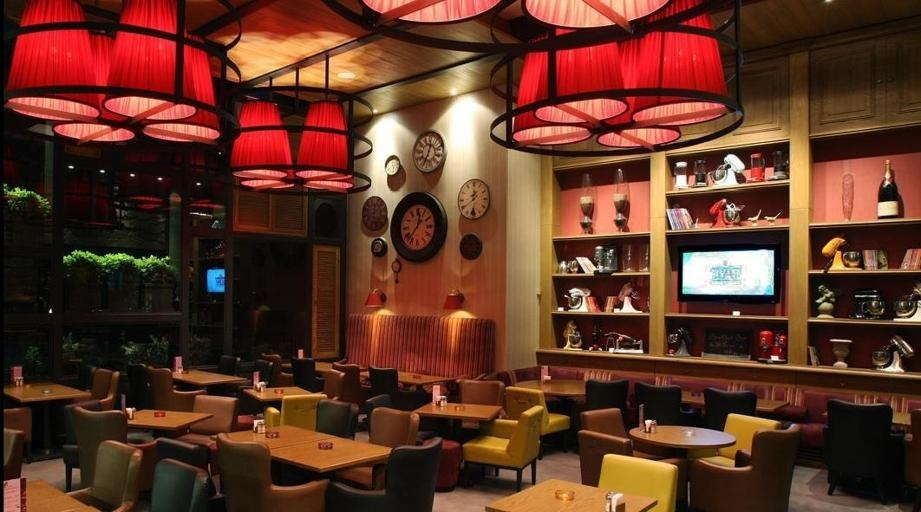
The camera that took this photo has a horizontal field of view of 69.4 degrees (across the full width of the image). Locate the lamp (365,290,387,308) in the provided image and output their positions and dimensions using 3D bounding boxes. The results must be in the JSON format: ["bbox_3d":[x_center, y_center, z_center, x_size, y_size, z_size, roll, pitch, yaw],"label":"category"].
[{"bbox_3d":[-1.848,0.910,14.413,0.378,0.378,0.461,-10,-18,37],"label":"lamp"}]

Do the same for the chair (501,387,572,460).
[{"bbox_3d":[1.326,2.704,11.102,0.991,0.985,0.693,6,-4,-44],"label":"chair"}]

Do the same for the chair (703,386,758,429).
[{"bbox_3d":[4.128,2.385,10.433,0.622,0.787,0.752,2,0,38],"label":"chair"}]

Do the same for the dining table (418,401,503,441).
[{"bbox_3d":[0.082,2.483,10.309,0.833,0.456,0.813,1,1,17],"label":"dining table"}]

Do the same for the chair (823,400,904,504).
[{"bbox_3d":[5.983,2.825,9.943,1.079,1.327,1.102,0,-8,42],"label":"chair"}]

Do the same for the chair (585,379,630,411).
[{"bbox_3d":[2.413,2.262,10.971,0.519,0.658,0.602,1,-6,8],"label":"chair"}]

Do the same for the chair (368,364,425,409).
[{"bbox_3d":[-1.023,2.298,11.790,0.696,0.894,0.880,0,-3,43],"label":"chair"}]

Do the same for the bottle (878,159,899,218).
[{"bbox_3d":[6.975,-1.083,10.811,0.307,0.993,0.368,-1,-5,33],"label":"bottle"}]

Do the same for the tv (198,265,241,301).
[{"bbox_3d":[-4.893,0.558,13.751,0.697,0.577,0.367,-2,-6,19],"label":"tv"}]

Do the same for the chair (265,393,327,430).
[{"bbox_3d":[-2.472,2.324,9.942,0.663,0.637,0.675,3,-4,-34],"label":"chair"}]

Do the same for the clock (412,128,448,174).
[{"bbox_3d":[-0.697,-2.165,13.889,0.905,0.811,0.846,0,5,-9],"label":"clock"}]

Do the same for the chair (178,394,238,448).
[{"bbox_3d":[-3.620,2.424,9.802,0.742,0.950,0.745,0,-13,14],"label":"chair"}]

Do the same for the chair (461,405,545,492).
[{"bbox_3d":[0.677,2.911,10.273,1.192,1.145,1.047,0,-2,36],"label":"chair"}]

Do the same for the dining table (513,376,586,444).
[{"bbox_3d":[1.671,2.593,11.565,1.232,0.645,1.138,-1,-7,12],"label":"dining table"}]

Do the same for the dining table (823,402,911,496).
[{"bbox_3d":[6.056,2.809,9.998,1.280,1.353,1.234,2,-3,-1],"label":"dining table"}]

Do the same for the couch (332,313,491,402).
[{"bbox_3d":[-0.737,1.985,14.065,3.285,1.442,1.072,1,-6,23],"label":"couch"}]

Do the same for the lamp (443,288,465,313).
[{"bbox_3d":[-0.135,0.876,13.174,0.355,0.345,0.436,-3,-8,39],"label":"lamp"}]

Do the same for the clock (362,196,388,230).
[{"bbox_3d":[-1.838,-0.939,14.601,0.604,0.566,0.067,36,22,33],"label":"clock"}]

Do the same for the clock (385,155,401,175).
[{"bbox_3d":[-1.459,-1.936,14.297,0.420,0.393,0.101,12,6,31],"label":"clock"}]

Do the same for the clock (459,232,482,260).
[{"bbox_3d":[0.233,-0.178,13.202,0.114,0.552,0.517,6,-6,-44],"label":"clock"}]

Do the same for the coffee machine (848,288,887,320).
[{"bbox_3d":[6.659,0.779,10.847,0.648,0.570,0.385,-2,-5,22],"label":"coffee machine"}]

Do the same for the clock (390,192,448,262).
[{"bbox_3d":[-0.922,-0.656,14.030,1.539,1.434,0.212,4,3,40],"label":"clock"}]

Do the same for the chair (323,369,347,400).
[{"bbox_3d":[-2.175,2.232,11.555,0.256,0.458,0.649,3,-5,-17],"label":"chair"}]

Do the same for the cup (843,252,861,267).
[{"bbox_3d":[6.478,0.084,11.018,0.302,0.266,0.257,-1,-10,5],"label":"cup"}]

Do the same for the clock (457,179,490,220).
[{"bbox_3d":[0.276,-1.119,13.178,0.851,0.769,0.047,-9,17,-41],"label":"clock"}]

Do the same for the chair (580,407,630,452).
[{"bbox_3d":[2.120,2.415,9.288,0.560,0.564,0.543,6,-10,-35],"label":"chair"}]

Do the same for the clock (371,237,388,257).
[{"bbox_3d":[-1.778,-0.186,14.543,0.478,0.397,0.119,-3,-6,42],"label":"clock"}]

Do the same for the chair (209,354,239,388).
[{"bbox_3d":[-4.598,2.219,12.847,0.552,0.727,0.590,-4,-6,31],"label":"chair"}]

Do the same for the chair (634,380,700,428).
[{"bbox_3d":[3.298,2.515,10.840,0.815,0.875,0.892,2,-4,20],"label":"chair"}]
